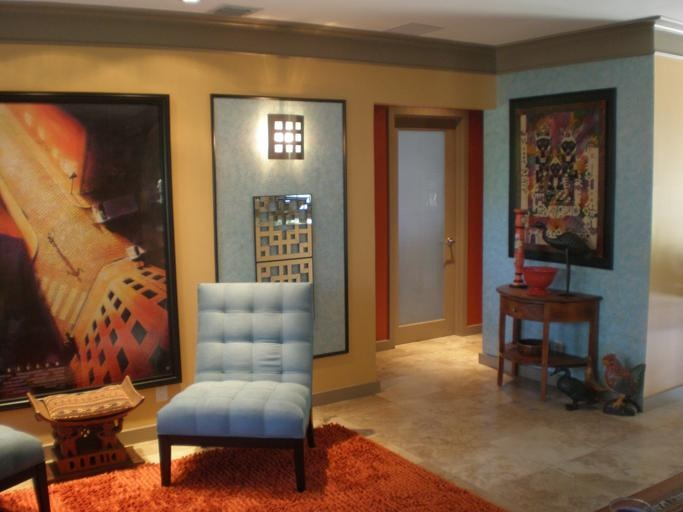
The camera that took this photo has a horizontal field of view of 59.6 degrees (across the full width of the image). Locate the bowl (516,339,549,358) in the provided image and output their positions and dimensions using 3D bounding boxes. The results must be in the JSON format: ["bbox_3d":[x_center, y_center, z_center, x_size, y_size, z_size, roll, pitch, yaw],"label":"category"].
[{"bbox_3d":[1.679,0.819,5.336,0.176,0.071,0.182,-2,2,0],"label":"bowl"}]

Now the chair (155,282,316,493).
[{"bbox_3d":[-0.619,0.868,4.229,0.951,1.298,1.096,0,3,3],"label":"chair"}]

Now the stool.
[{"bbox_3d":[-1.824,1.171,4.224,0.681,0.591,0.597,1,5,-36],"label":"stool"}]

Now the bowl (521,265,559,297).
[{"bbox_3d":[1.708,0.218,5.148,0.257,0.177,0.244,1,1,0],"label":"bowl"}]
